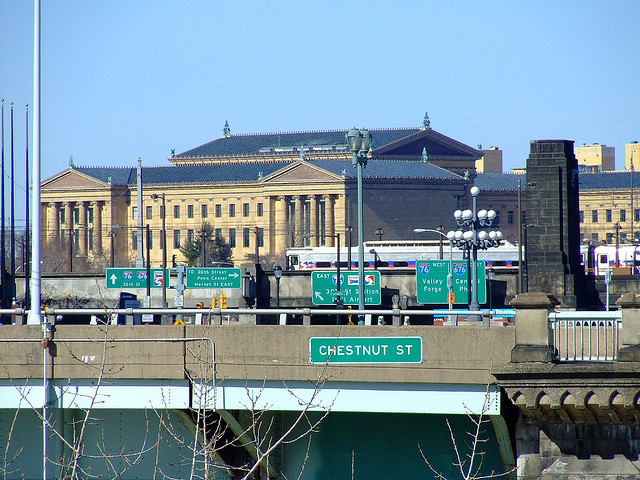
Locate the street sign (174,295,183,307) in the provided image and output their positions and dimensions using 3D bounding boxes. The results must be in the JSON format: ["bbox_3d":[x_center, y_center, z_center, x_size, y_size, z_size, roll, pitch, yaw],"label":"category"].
[{"bbox_3d":[-6.198,2.467,82.500,0.567,0.667,0.218,0,1,16],"label":"street sign"}]

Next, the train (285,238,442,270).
[{"bbox_3d":[2.630,0.426,110.369,7.972,2.364,14.323,-2,-4,-7],"label":"train"}]
